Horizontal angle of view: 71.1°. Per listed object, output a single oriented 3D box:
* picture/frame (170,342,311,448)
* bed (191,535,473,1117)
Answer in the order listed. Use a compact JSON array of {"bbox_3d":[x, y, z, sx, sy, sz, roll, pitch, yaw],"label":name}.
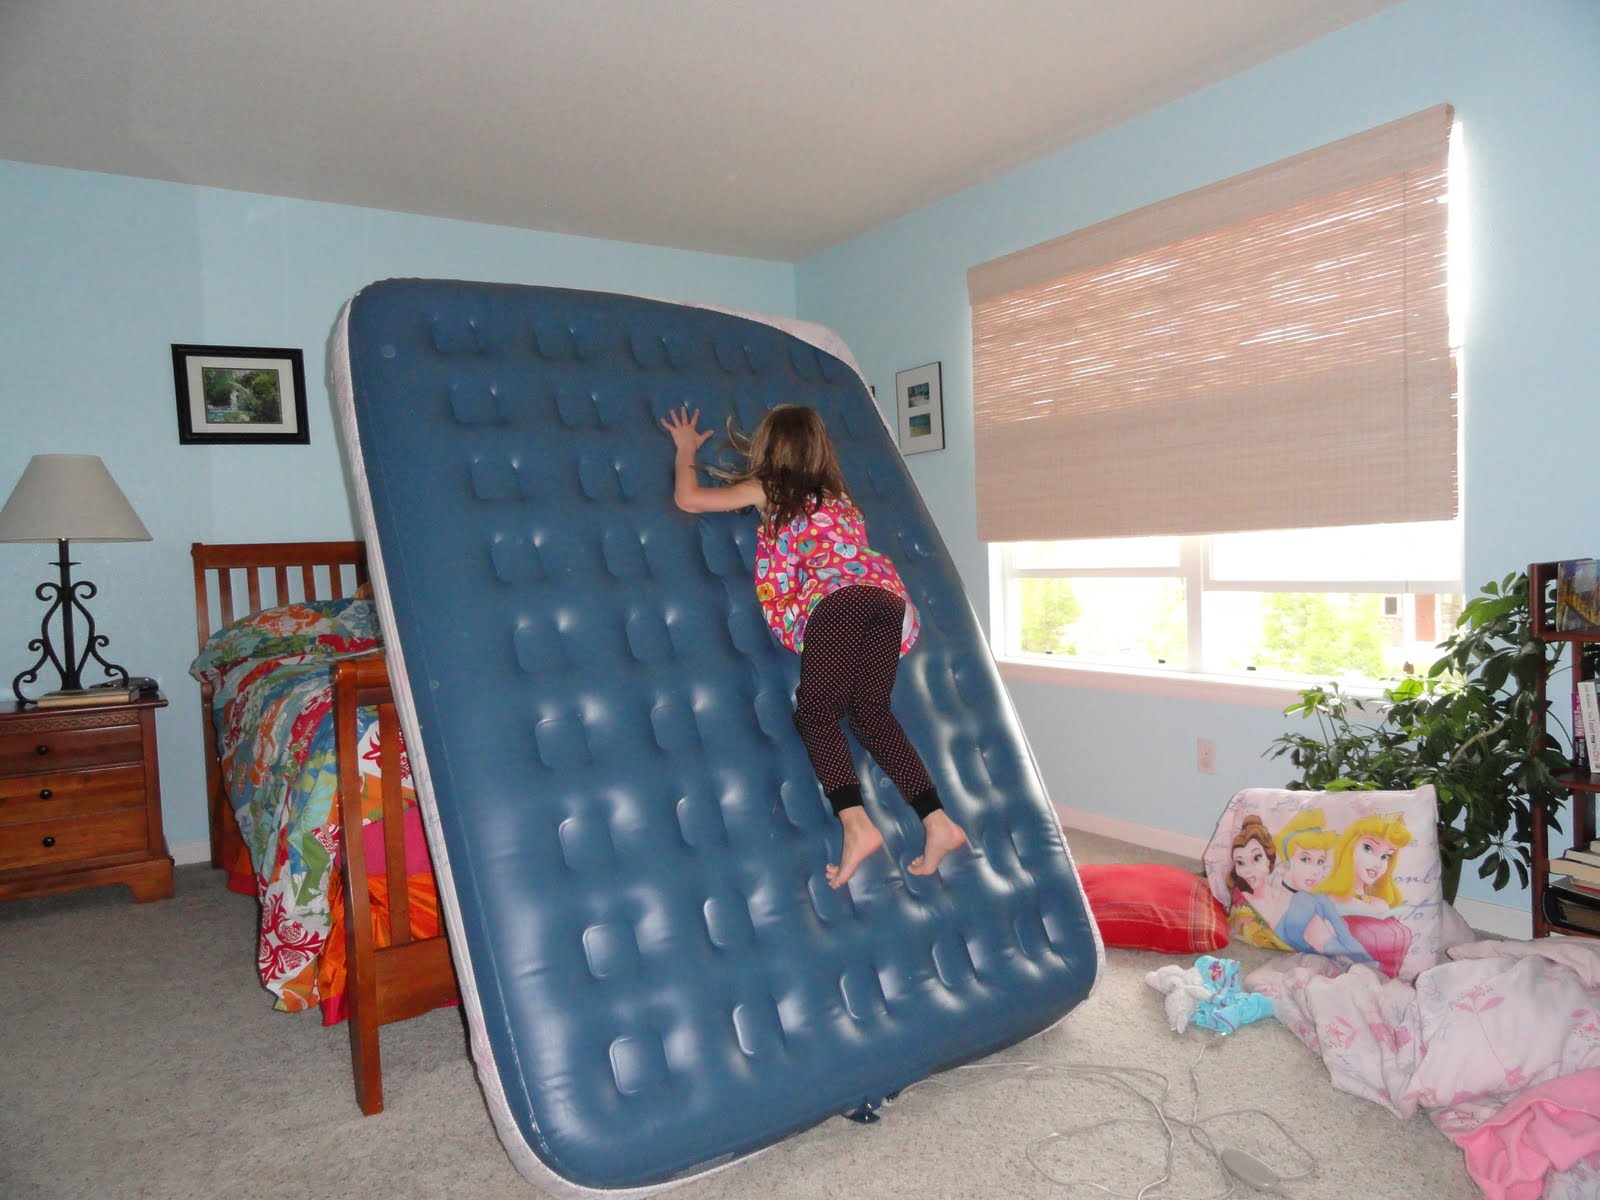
[{"bbox_3d":[-2.455,-0.890,4.835,0.428,0.439,0.031,-5,8,-30],"label":"picture/frame"},{"bbox_3d":[-1.336,0.537,3.947,1.106,1.453,2.050,-5,8,-33],"label":"bed"}]
